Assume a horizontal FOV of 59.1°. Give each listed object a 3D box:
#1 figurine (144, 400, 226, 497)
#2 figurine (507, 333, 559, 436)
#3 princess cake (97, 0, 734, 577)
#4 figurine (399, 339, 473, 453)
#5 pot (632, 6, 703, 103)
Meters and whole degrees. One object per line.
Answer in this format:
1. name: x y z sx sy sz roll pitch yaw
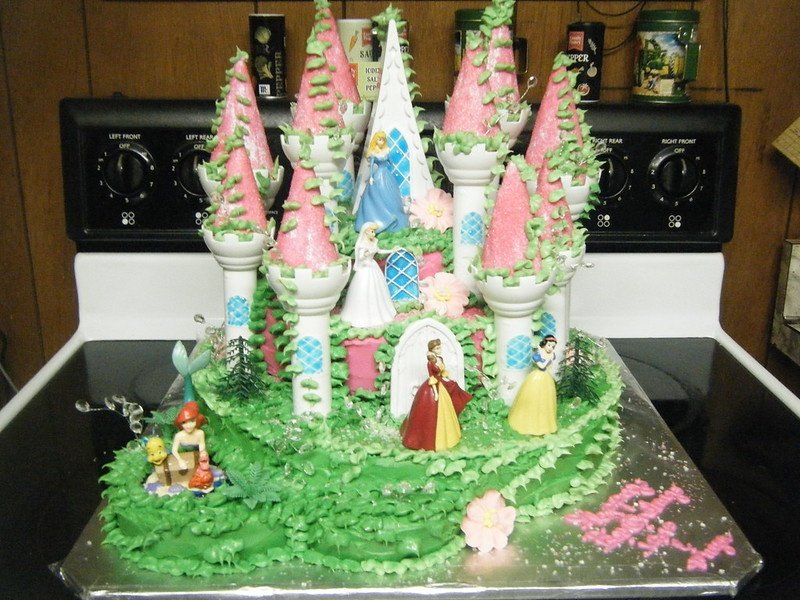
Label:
1. figurine: -0.394 0.263 1.286 0.133 0.140 0.124 3 19 -1
2. figurine: 0.237 0.157 1.287 0.098 0.187 0.099 11 27 23
3. princess cake: -0.039 -0.084 1.272 1.061 0.860 0.664 -11 23 -23
4. figurine: 0.057 0.159 1.247 0.109 0.175 0.144 6 7 42
5. pot: 0.670 -0.621 1.791 0.215 0.248 0.187 12 22 34
